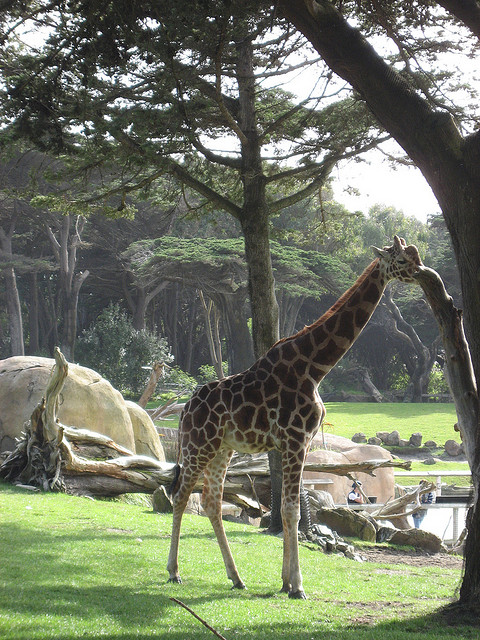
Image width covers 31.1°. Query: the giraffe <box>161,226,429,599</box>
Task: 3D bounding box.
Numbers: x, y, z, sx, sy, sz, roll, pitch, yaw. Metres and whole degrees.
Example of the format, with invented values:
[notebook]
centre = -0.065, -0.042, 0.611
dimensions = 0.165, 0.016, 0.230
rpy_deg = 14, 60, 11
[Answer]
[giraffe]
centre = 0.394, 0.848, 7.938
dimensions = 2.085, 3.190, 0.891
rpy_deg = 1, -2, -6
